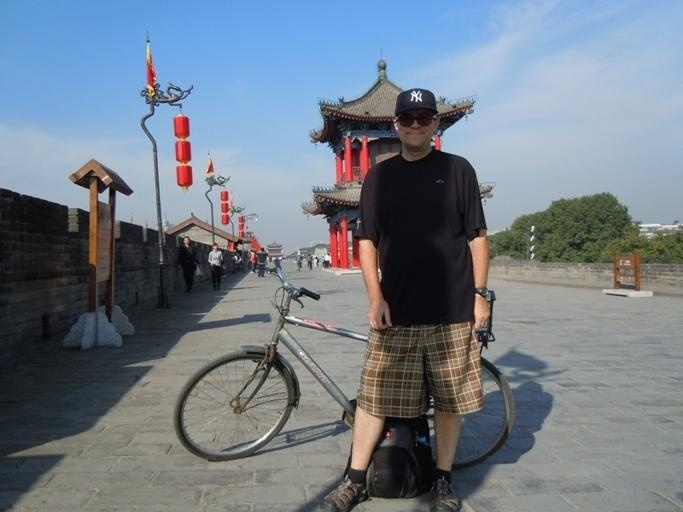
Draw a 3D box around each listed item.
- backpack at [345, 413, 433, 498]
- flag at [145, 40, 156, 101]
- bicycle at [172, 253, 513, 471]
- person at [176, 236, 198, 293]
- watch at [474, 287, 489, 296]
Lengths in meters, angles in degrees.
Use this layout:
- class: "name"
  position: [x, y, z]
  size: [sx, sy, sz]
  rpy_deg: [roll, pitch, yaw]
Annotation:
- class: "backpack"
  position: [0.401, 1.361, 4.155]
  size: [0.470, 0.632, 0.655]
  rpy_deg: [-4, -10, 21]
- class: "flag"
  position: [-4.433, -4.358, 13.715]
  size: [0.153, 1.468, 0.282]
  rpy_deg: [6, 20, 16]
- class: "bicycle"
  position: [-0.023, 0.889, 4.405]
  size: [2.397, 1.357, 1.007]
  rpy_deg: [-2, -18, 12]
- class: "person"
  position: [-4.825, 0.177, 18.649]
  size: [0.631, 1.695, 0.511]
  rpy_deg: [-5, 22, -18]
- class: "watch"
  position: [0.906, 0.227, 3.825]
  size: [0.057, 0.037, 0.062]
  rpy_deg: [2, -1, -8]
